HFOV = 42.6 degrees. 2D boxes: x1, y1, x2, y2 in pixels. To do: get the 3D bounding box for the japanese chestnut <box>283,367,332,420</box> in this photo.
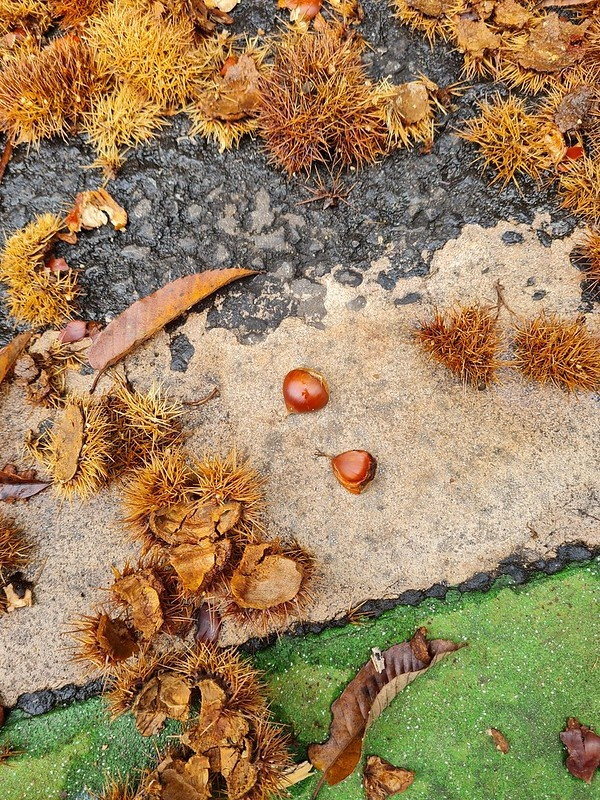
[{"bbox_3d":[0.024,-0.056,3.835,0.211,0.146,0.195,-7,66,4],"label":"japanese chestnut"}]
